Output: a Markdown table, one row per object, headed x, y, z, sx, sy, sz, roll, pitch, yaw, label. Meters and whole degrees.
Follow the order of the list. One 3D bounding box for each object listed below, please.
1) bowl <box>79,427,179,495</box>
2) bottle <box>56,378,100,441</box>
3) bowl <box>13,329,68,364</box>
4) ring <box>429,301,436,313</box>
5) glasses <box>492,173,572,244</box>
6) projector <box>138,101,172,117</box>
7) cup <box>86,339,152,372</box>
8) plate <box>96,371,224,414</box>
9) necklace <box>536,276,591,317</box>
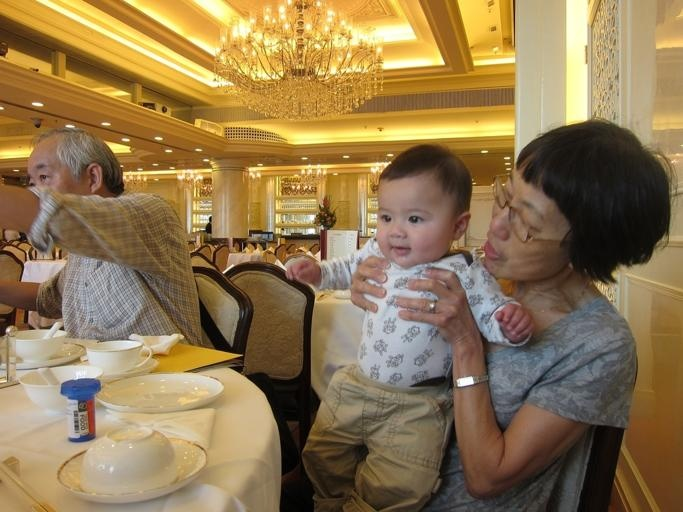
| x | y | z | sx | sy | sz | roll | pitch | yaw | label |
| --- | --- | --- | --- | --- | --- | --- | --- | --- | --- |
| -0.376 | 0.359 | 0.840 | 0.147 | 0.080 | 0.110 | 4 | 11 | 24 | bowl |
| -0.565 | 0.315 | 1.032 | 0.072 | 0.127 | 0.148 | -6 | 12 | -32 | bottle |
| -0.846 | 0.258 | 1.352 | 0.099 | 0.058 | 0.103 | -1 | -10 | 0 | bowl |
| 0.250 | 0.142 | 1.325 | 0.027 | 0.030 | 0.025 | -1 | -10 | 0 | ring |
| 0.484 | -0.105 | 1.256 | 0.184 | 0.062 | 0.178 | 6 | 40 | -34 | glasses |
| -3.925 | -3.103 | 10.141 | 0.634 | 0.168 | 0.684 | 7 | 4 | 27 | projector |
| -0.618 | 0.260 | 1.287 | 0.106 | 0.054 | 0.088 | 2 | -3 | 2 | cup |
| -0.432 | 0.334 | 1.147 | 0.284 | 0.047 | 0.185 | 1 | 10 | 4 | plate |
| 0.622 | 0.113 | 1.322 | 0.051 | 0.065 | 0.098 | 11 | -9 | -24 | necklace |
